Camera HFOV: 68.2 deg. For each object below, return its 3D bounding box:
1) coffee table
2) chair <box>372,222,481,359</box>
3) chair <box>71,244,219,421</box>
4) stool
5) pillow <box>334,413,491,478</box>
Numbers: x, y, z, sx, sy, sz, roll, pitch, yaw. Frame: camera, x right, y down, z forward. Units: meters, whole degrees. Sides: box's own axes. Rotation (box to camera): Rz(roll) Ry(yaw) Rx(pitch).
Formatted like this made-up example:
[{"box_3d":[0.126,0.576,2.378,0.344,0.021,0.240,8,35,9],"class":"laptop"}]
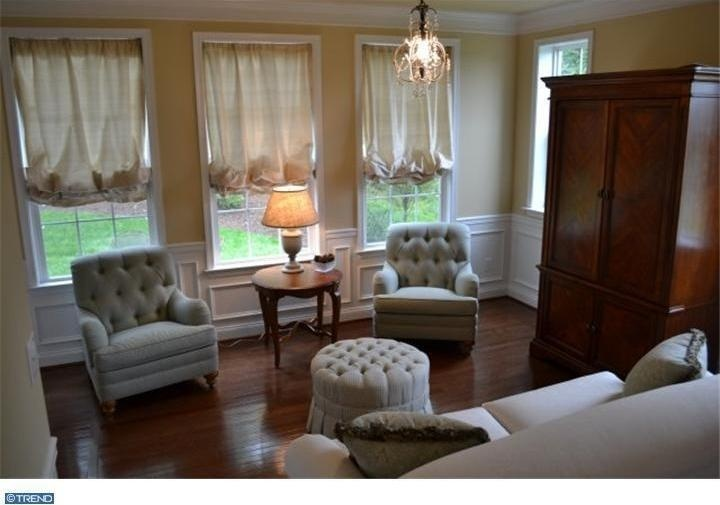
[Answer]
[{"box_3d":[-0.581,0.583,5.117,0.804,0.763,0.789,-8,15,-26],"class":"coffee table"},{"box_3d":[0.657,0.364,5.474,0.952,1.329,1.224,0,2,7],"class":"chair"},{"box_3d":[-1.907,0.614,4.659,1.076,1.238,1.339,-7,8,-23],"class":"chair"},{"box_3d":[0.102,1.111,4.119,0.969,0.572,0.955,0,2,-12],"class":"stool"},{"box_3d":[0.245,0.920,2.625,0.482,0.153,0.400,-3,8,-13],"class":"pillow"}]
